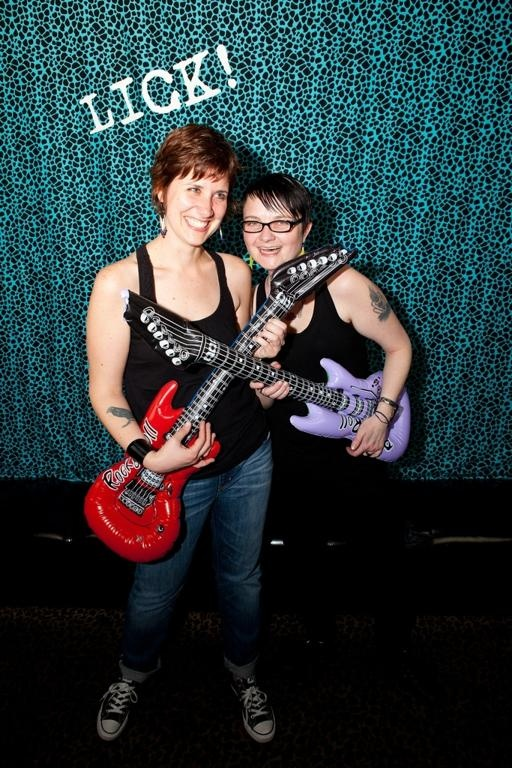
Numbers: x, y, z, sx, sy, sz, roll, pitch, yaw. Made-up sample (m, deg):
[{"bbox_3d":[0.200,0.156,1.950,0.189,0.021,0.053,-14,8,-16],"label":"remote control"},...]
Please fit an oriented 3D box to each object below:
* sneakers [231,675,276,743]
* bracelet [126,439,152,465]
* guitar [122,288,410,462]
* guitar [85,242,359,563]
[{"bbox_3d":[-0.007,0.959,1.868,0.076,0.080,0.207,-1,4,-11],"label":"sneakers"},{"bbox_3d":[-0.290,0.161,1.551,0.063,0.059,0.063,0,8,-34],"label":"bracelet"},{"bbox_3d":[0.029,0.021,1.841,1.035,0.290,0.124,25,-19,-37],"label":"guitar"},{"bbox_3d":[-0.125,0.085,1.730,0.355,1.161,0.162,37,2,-1],"label":"guitar"}]
